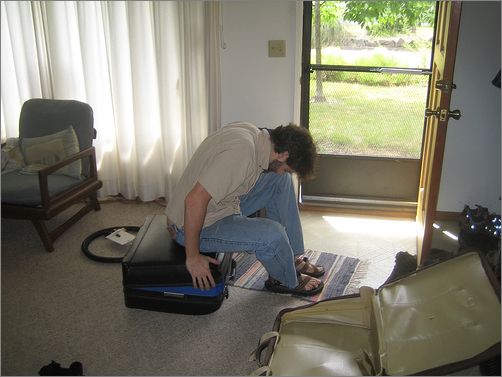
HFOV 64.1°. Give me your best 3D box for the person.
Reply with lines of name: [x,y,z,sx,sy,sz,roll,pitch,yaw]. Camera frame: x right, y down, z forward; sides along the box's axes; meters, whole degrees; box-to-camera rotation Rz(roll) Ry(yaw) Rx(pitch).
person: [-0.048,0.074,2.225,0.766,0.937,0.862,21,25,39]

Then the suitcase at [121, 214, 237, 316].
suitcase: [-0.430,0.417,2.433,0.575,0.341,0.711,8,23,-1]

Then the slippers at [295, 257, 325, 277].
slippers: [0.361,0.490,2.508,0.227,0.095,0.087,2,25,-1]

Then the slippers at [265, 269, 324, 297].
slippers: [0.250,0.563,2.367,0.266,0.085,0.155,2,25,7]

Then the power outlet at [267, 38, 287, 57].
power outlet: [0.201,-1.092,3.099,0.127,0.127,0.031,3,8,11]
